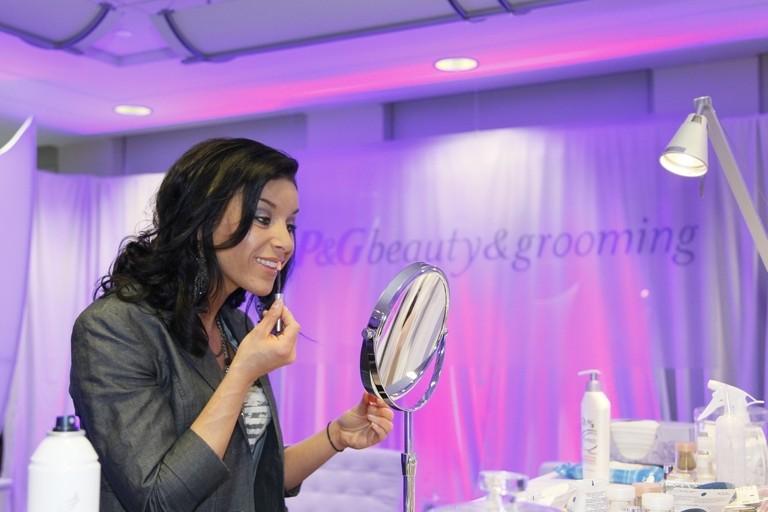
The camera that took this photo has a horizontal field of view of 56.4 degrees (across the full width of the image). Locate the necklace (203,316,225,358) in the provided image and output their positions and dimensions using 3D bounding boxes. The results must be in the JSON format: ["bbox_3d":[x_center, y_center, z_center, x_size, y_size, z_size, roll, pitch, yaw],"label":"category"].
[{"bbox_3d":[-0.568,0.270,2.391,0.026,0.120,0.070,-8,3,31],"label":"necklace"}]
